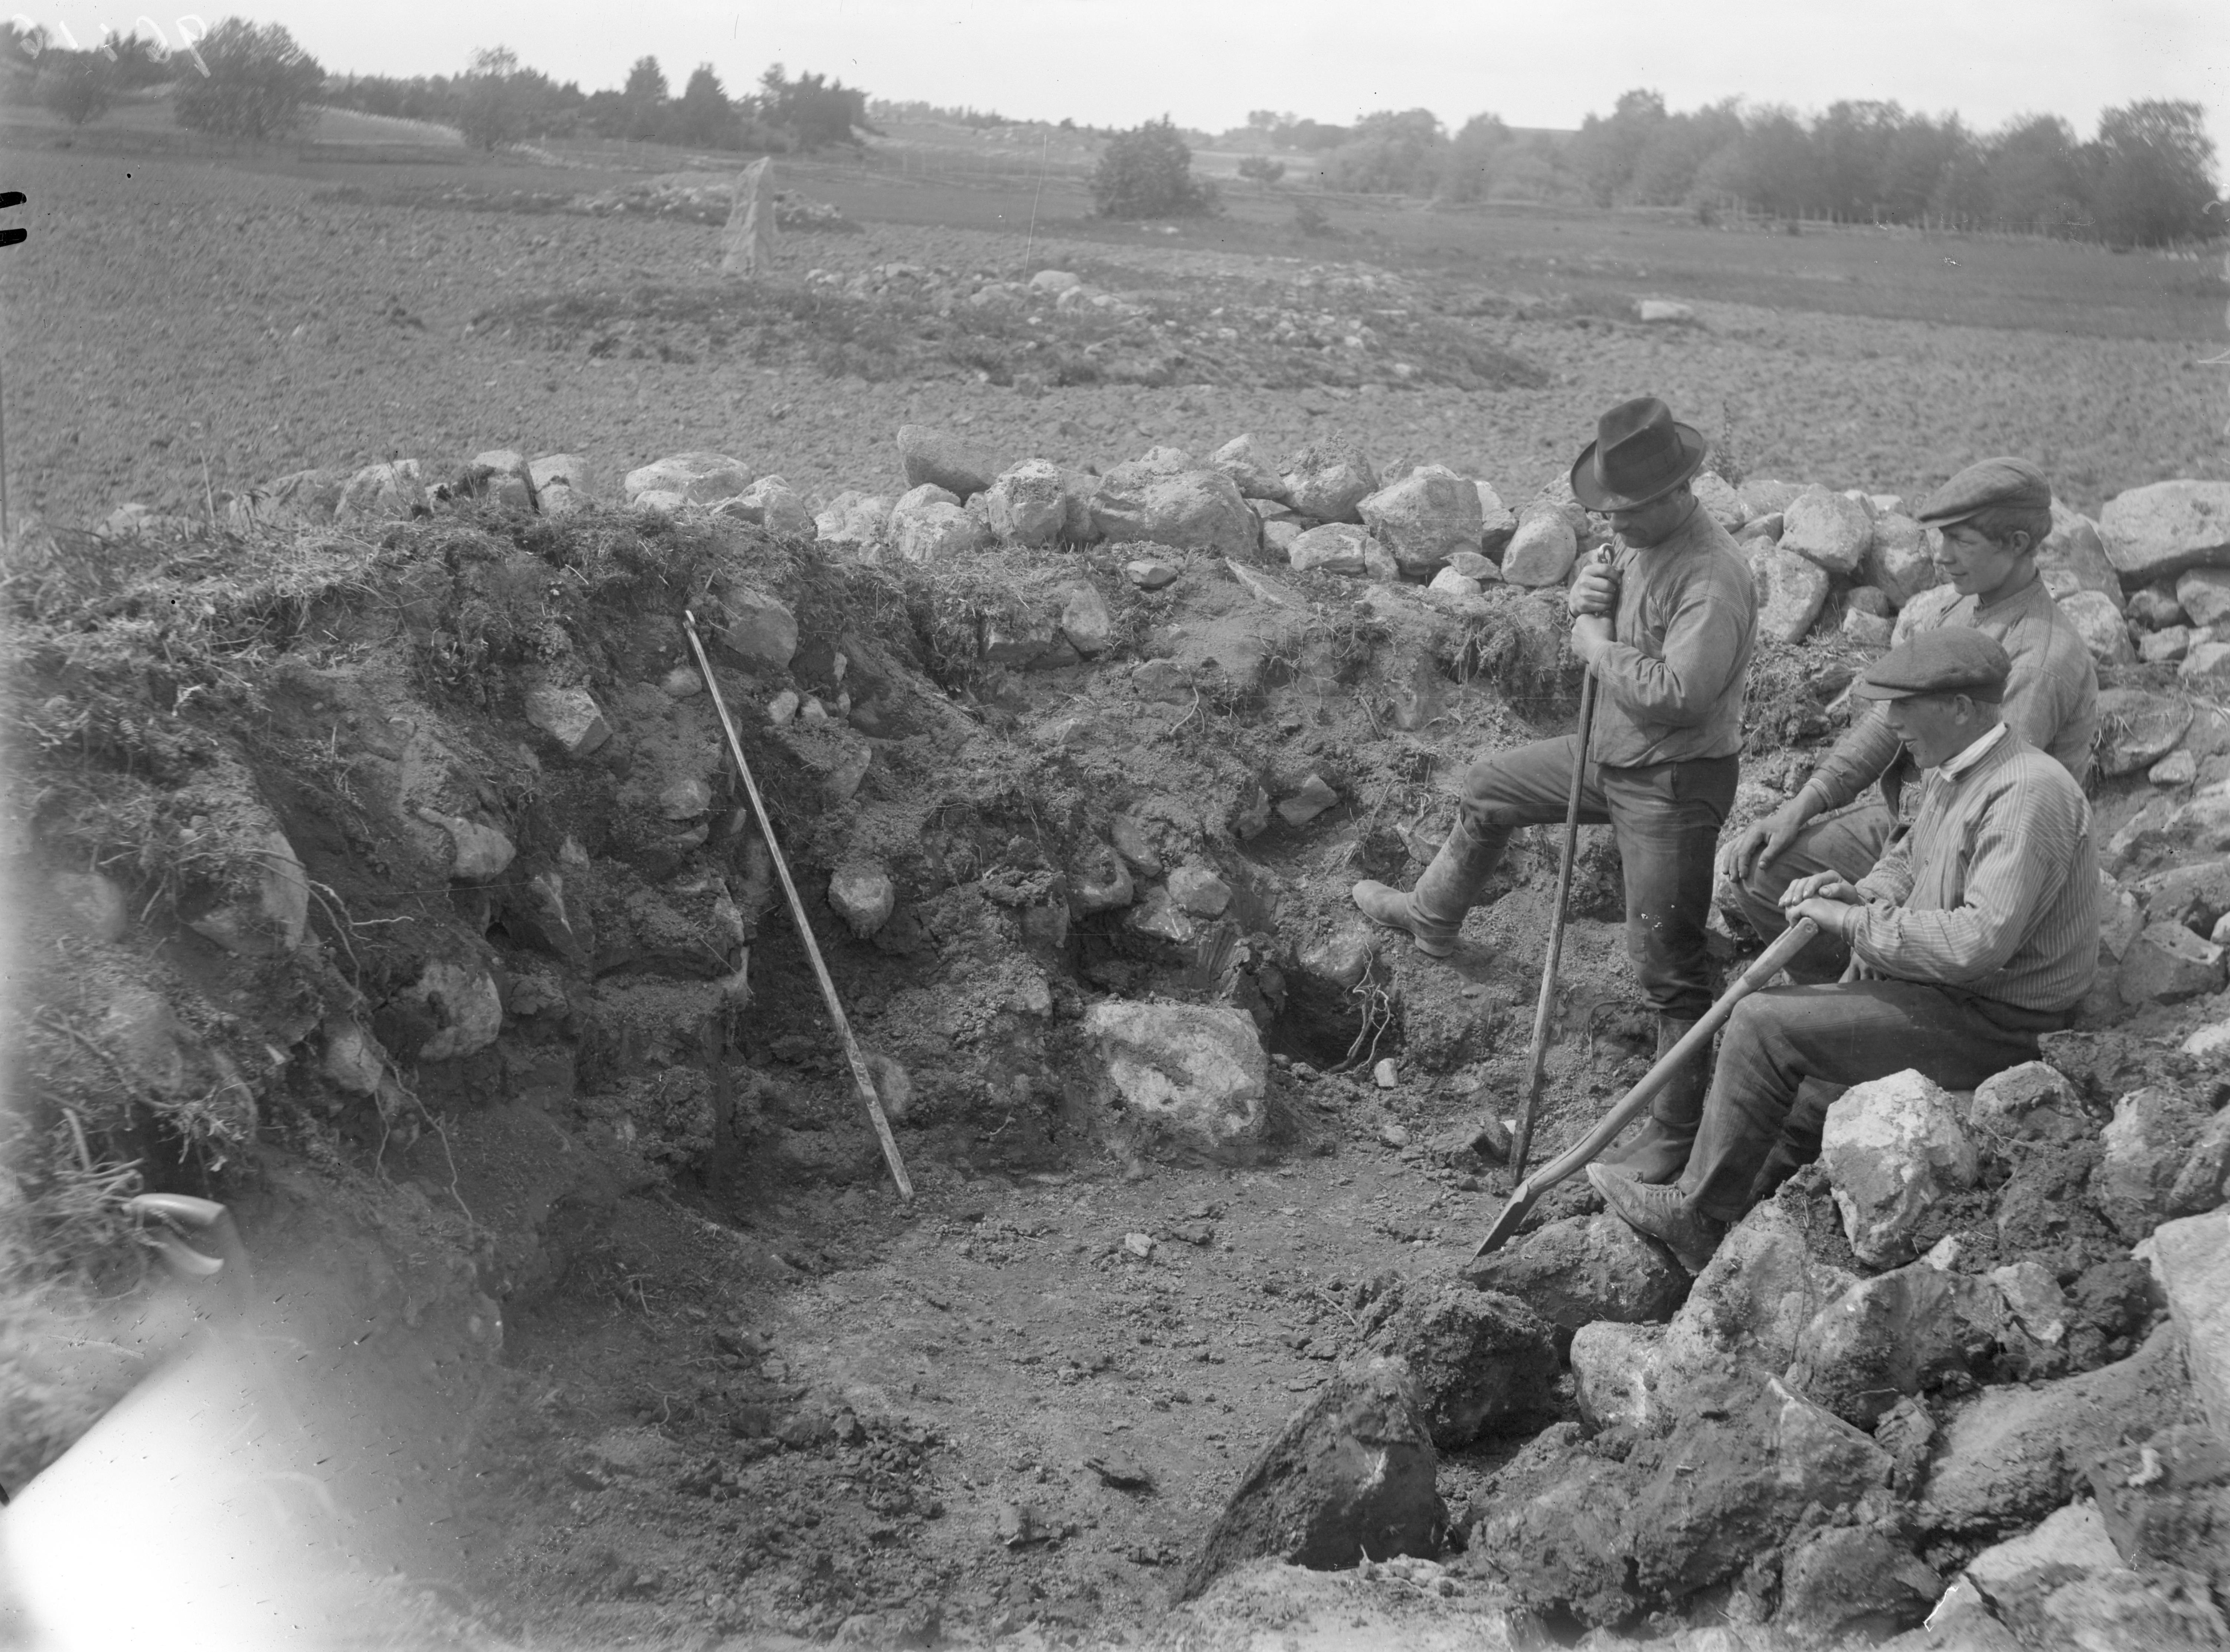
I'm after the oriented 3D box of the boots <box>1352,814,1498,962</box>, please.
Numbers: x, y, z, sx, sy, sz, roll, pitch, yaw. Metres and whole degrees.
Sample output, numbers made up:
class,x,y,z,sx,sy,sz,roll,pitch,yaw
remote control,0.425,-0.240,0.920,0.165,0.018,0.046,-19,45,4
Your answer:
class,x,y,z,sx,sy,sz,roll,pitch,yaw
boots,1.477,0.311,9.708,0.280,0.555,0.500,-22,52,-39

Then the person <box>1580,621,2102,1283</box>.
class,x,y,z,sx,sy,sz,roll,pitch,yaw
person,2.941,0.531,7.816,1.462,2.548,0.695,10,16,20

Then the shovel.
class,x,y,z,sx,sy,sz,roll,pitch,yaw
shovel,2.235,1.105,8.462,0.140,1.612,0.226,25,14,-35

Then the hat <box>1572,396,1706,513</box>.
class,x,y,z,sx,sy,sz,roll,pitch,yaw
hat,2.138,-1.579,8.417,0.588,0.256,0.611,-16,33,12

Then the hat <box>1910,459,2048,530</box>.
class,x,y,z,sx,sy,sz,roll,pitch,yaw
hat,3.437,-1.313,8.079,0.337,0.144,0.297,0,14,5

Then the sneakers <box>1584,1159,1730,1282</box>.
class,x,y,z,sx,sy,sz,roll,pitch,yaw
sneakers,2.145,1.517,8.151,0.623,0.276,0.219,42,4,27

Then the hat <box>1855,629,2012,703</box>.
class,x,y,z,sx,sy,sz,roll,pitch,yaw
hat,3.069,-0.611,7.661,0.366,0.160,0.297,1,13,11
